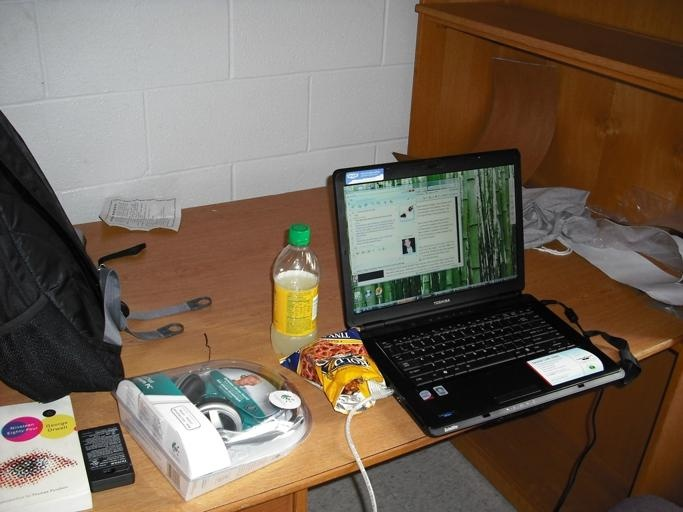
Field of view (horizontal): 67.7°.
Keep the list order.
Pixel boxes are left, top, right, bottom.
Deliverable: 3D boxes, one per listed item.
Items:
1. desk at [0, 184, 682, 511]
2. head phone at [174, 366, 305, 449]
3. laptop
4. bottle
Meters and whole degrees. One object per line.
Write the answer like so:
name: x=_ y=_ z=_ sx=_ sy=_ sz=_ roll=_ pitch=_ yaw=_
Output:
desk: x=0.030 y=0.158 z=1.071 sx=0.873 sy=0.540 sz=0.461 roll=-13 pitch=38 yaw=-23
head phone: x=-0.175 y=0.255 z=0.900 sx=0.149 sy=0.058 sz=0.202 roll=-23 pitch=32 yaw=-36
laptop: x=0.230 y=0.156 z=1.183 sx=0.612 sy=0.418 sz=0.547 roll=-11 pitch=42 yaw=-23
bottle: x=-0.103 y=0.041 z=1.065 sx=0.111 sy=0.258 sz=0.248 roll=-5 pitch=25 yaw=-4
